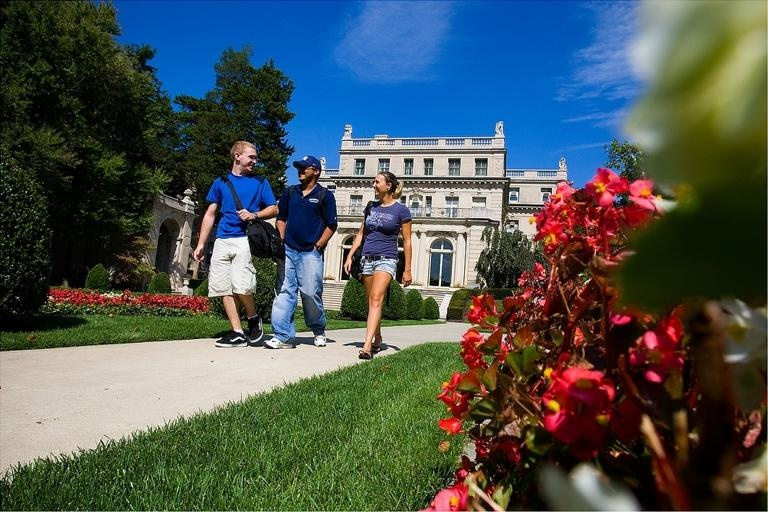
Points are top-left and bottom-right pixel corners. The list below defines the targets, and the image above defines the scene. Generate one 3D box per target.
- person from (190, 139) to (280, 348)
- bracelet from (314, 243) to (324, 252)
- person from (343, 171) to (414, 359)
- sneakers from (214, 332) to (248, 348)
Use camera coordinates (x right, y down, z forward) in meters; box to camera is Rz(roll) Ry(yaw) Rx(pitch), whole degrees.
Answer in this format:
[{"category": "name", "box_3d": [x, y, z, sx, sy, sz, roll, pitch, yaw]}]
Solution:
[{"category": "person", "box_3d": [-1.385, -0.176, 4.738, 0.714, 2.059, 0.858, 7, -6, -19]}, {"category": "bracelet", "box_3d": [-0.614, -0.071, 4.774, 0.076, 0.052, 0.078, 13, -9, 21]}, {"category": "person", "box_3d": [-0.036, 0.033, 4.869, 0.616, 1.857, 1.148, 5, -6, -4]}, {"category": "sneakers", "box_3d": [-1.390, 0.783, 4.623, 0.325, 0.145, 0.128, 8, -10, -23]}]
